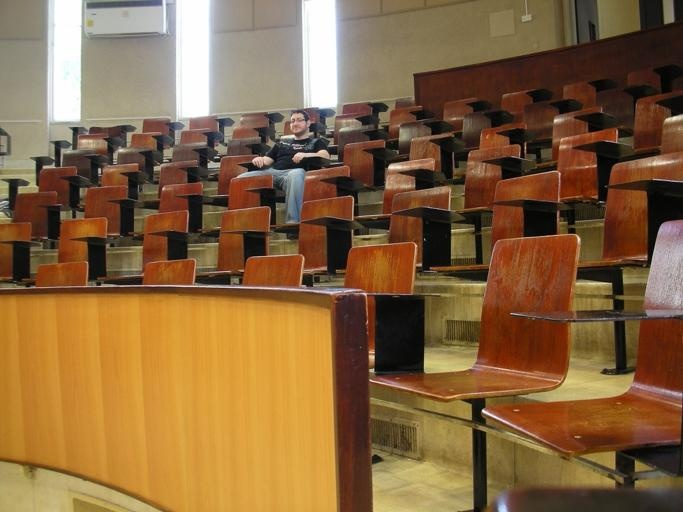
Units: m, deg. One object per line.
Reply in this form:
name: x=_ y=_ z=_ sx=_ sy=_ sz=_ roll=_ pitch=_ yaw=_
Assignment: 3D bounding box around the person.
person: x=-0.321 y=-0.517 z=5.606 sx=0.511 sy=0.778 sz=0.455 roll=-2 pitch=-9 yaw=31
